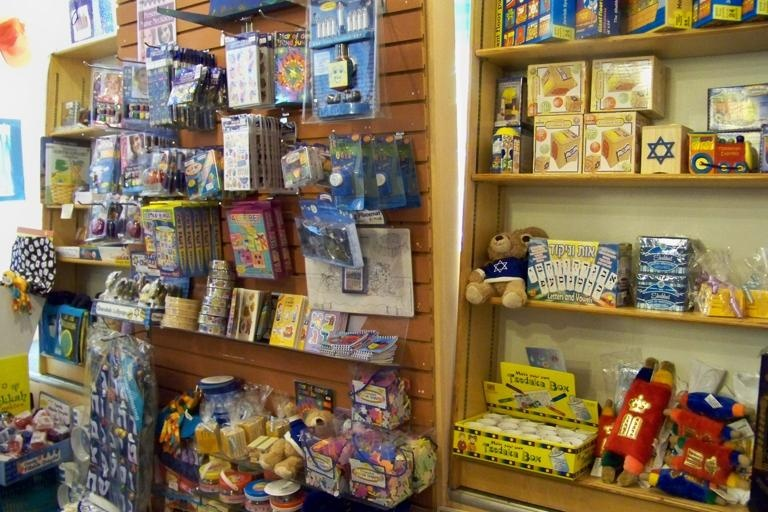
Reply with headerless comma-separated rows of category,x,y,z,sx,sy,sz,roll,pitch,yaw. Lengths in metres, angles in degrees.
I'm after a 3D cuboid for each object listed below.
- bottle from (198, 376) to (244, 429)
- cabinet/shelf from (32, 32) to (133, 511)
bottle,-1.011,0.910,3.477,0.251,0.252,0.252,-1,2,31
cabinet/shelf,-2.326,-0.075,4.264,0.578,3.094,1.295,-2,4,-35
